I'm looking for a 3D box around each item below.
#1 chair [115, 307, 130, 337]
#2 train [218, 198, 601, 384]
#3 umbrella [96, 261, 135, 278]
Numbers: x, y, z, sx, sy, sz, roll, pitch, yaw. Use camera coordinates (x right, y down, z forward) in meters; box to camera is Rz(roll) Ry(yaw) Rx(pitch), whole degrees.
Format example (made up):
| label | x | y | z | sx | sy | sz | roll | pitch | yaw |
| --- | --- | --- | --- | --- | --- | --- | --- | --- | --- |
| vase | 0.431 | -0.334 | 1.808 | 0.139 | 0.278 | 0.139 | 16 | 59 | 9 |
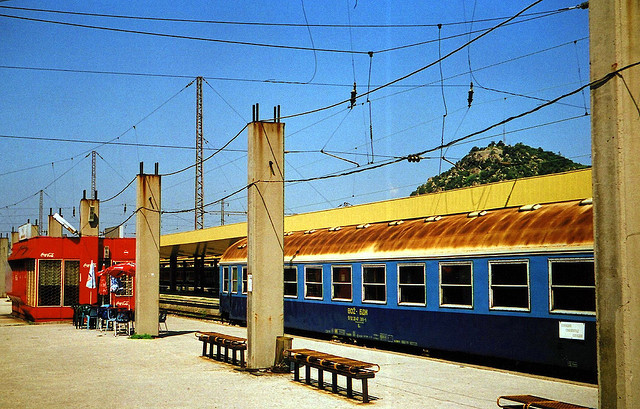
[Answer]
| label | x | y | z | sx | sy | sz | roll | pitch | yaw |
| --- | --- | --- | --- | --- | --- | --- | --- | --- | --- |
| chair | -8.882 | 5.250 | 29.879 | 0.902 | 1.353 | 0.963 | 6 | 14 | -18 |
| train | 2.556 | 3.669 | 27.329 | 3.997 | 5.295 | 21.714 | 0 | -5 | -33 |
| umbrella | -9.483 | 3.164 | 31.327 | 1.394 | 0.793 | 3.151 | 2 | -1 | -16 |
